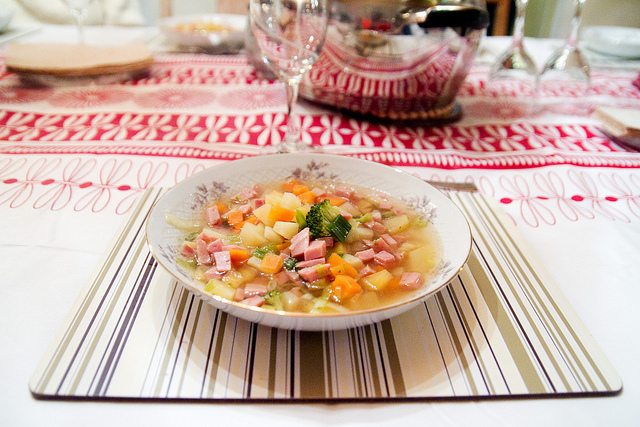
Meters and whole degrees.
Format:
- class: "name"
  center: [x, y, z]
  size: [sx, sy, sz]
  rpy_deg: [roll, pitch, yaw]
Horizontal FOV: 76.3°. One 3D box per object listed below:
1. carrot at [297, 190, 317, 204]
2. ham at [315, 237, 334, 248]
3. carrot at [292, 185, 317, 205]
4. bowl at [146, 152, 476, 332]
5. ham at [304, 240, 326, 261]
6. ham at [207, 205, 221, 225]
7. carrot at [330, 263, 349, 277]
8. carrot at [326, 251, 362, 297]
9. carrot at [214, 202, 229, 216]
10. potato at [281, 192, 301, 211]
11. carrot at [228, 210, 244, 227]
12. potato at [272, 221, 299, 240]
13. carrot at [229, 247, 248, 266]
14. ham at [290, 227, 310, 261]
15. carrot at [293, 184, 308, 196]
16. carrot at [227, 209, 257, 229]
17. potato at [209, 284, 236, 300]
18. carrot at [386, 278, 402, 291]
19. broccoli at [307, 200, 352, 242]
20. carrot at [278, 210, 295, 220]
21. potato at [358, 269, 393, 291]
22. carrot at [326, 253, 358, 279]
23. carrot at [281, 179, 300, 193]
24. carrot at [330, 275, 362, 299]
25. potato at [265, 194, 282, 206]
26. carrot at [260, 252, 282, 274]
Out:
- class: "carrot"
  center: [-0.031, -0.040, 1.008]
  size: [0.031, 0.014, 0.036]
  rpy_deg: [-6, 32, 7]
- class: "ham"
  center: [0.013, 0.068, 0.909]
  size: [0.041, 0.028, 0.021]
  rpy_deg: [-3, 74, 0]
- class: "carrot"
  center: [-0.039, -0.048, 1.020]
  size: [0.049, 0.019, 0.047]
  rpy_deg: [-15, 40, 37]
- class: "bowl"
  center: [-0.016, 0.040, 0.927]
  size: [0.669, 0.154, 0.528]
  rpy_deg: [12, 43, 15]
- class: "ham"
  center: [-0.009, 0.079, 0.867]
  size: [0.042, 0.017, 0.048]
  rpy_deg: [1, 21, 13]
- class: "ham"
  center: [-0.253, 0.006, 0.966]
  size: [0.026, 0.028, 0.045]
  rpy_deg: [-25, 64, 15]
- class: "carrot"
  center: [0.041, 0.116, 0.838]
  size: [0.041, 0.027, 0.022]
  rpy_deg: [-3, -6, -7]
- class: "carrot"
  center: [0.047, 0.124, 0.830]
  size: [0.064, 0.029, 0.067]
  rpy_deg: [23, 45, -25]
- class: "carrot"
  center: [-0.239, -0.012, 0.994]
  size: [0.031, 0.014, 0.030]
  rpy_deg: [-24, 49, -24]
- class: "potato"
  center: [-0.068, -0.027, 0.965]
  size: [0.040, 0.040, 0.039]
  rpy_deg: [1, 50, -9]
- class: "carrot"
  center: [-0.200, 0.011, 0.964]
  size: [0.036, 0.034, 0.033]
  rpy_deg: [4, -1, -1]
- class: "potato"
  center: [-0.077, 0.038, 0.916]
  size: [0.042, 0.030, 0.042]
  rpy_deg: [11, 3, 43]
- class: "carrot"
  center: [-0.172, 0.092, 0.860]
  size: [0.039, 0.034, 0.022]
  rpy_deg: [4, 4, -12]
- class: "ham"
  center: [-0.044, 0.060, 0.884]
  size: [0.059, 0.017, 0.060]
  rpy_deg: [-29, 46, 29]
- class: "carrot"
  center: [-0.052, -0.061, 1.034]
  size: [0.028, 0.011, 0.028]
  rpy_deg: [3, 35, 5]
- class: "carrot"
  center: [-0.190, 0.017, 0.964]
  size: [0.052, 0.015, 0.048]
  rpy_deg: [-18, 59, -17]
- class: "potato"
  center: [-0.185, 0.154, 0.794]
  size: [0.032, 0.008, 0.029]
  rpy_deg: [18, 22, 13]
- class: "carrot"
  center: [0.153, 0.147, 0.842]
  size: [0.036, 0.019, 0.024]
  rpy_deg: [0, 50, 3]
- class: "broccoli"
  center: [0.015, 0.025, 0.938]
  size: [0.127, 0.089, 0.101]
  rpy_deg: [-5, 5, 3]
- class: "carrot"
  center: [-0.076, 0.005, 0.939]
  size: [0.031, 0.015, 0.008]
  rpy_deg: [-5, -3, -20]
- class: "potato"
  center: [0.114, 0.140, 0.840]
  size: [0.042, 0.021, 0.053]
  rpy_deg: [14, 48, 34]
- class: "carrot"
  center: [0.046, 0.107, 0.859]
  size: [0.053, 0.050, 0.038]
  rpy_deg: [-4, 19, 7]
- class: "carrot"
  center: [-0.076, -0.072, 1.068]
  size: [0.037, 0.011, 0.040]
  rpy_deg: [17, 55, 38]
- class: "carrot"
  center: [0.047, 0.149, 0.818]
  size: [0.049, 0.030, 0.048]
  rpy_deg: [12, 37, -27]
- class: "potato"
  center: [-0.114, -0.034, 0.987]
  size: [0.030, 0.012, 0.031]
  rpy_deg: [4, 28, 1]
- class: "carrot"
  center: [-0.104, 0.106, 0.866]
  size: [0.043, 0.023, 0.046]
  rpy_deg: [8, 42, 10]
